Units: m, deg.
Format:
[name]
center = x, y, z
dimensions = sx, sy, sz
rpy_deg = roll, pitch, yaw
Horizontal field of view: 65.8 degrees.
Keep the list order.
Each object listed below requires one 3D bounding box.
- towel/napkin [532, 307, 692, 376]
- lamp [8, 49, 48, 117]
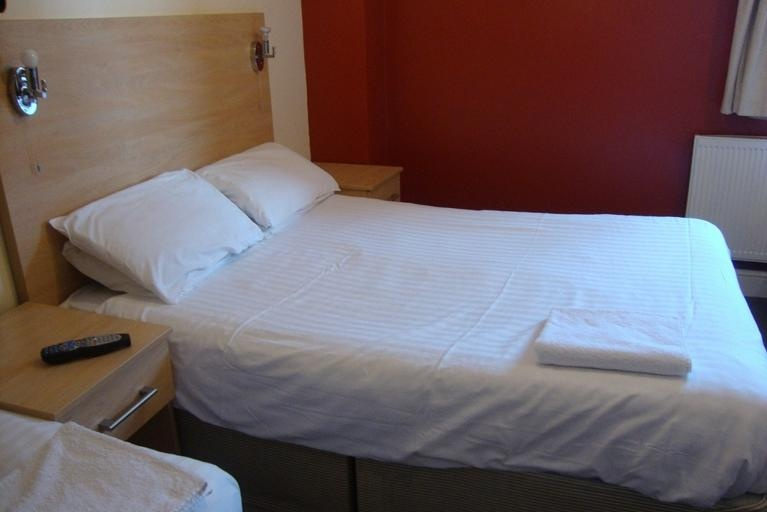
[towel/napkin]
center = 0.845, 0.304, 2.211
dimensions = 0.555, 0.084, 0.331
rpy_deg = 3, 25, 10
[lamp]
center = -1.424, -0.701, 2.401
dimensions = 0.147, 0.252, 0.099
rpy_deg = 18, 23, 24
